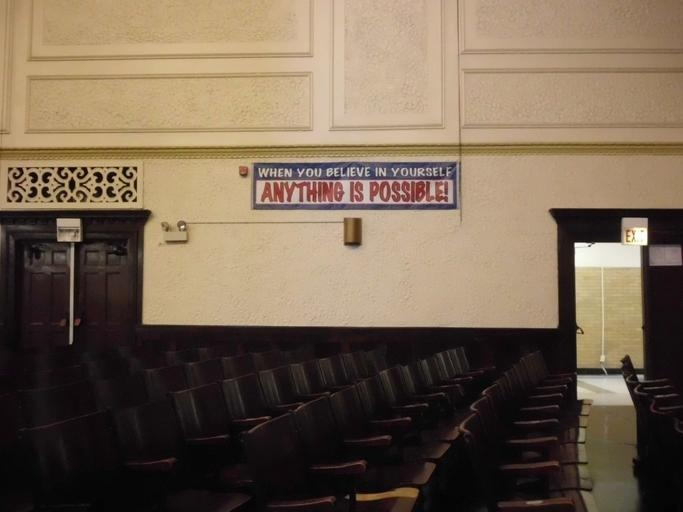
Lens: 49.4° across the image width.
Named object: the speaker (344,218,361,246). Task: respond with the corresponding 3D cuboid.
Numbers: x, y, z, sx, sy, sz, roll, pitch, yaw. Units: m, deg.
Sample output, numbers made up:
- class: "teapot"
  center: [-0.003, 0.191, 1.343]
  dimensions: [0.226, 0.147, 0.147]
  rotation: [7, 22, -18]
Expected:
- class: "speaker"
  center: [0.174, -0.301, 9.328]
  dimensions: [0.236, 0.345, 0.143]
  rotation: [0, 0, -2]
